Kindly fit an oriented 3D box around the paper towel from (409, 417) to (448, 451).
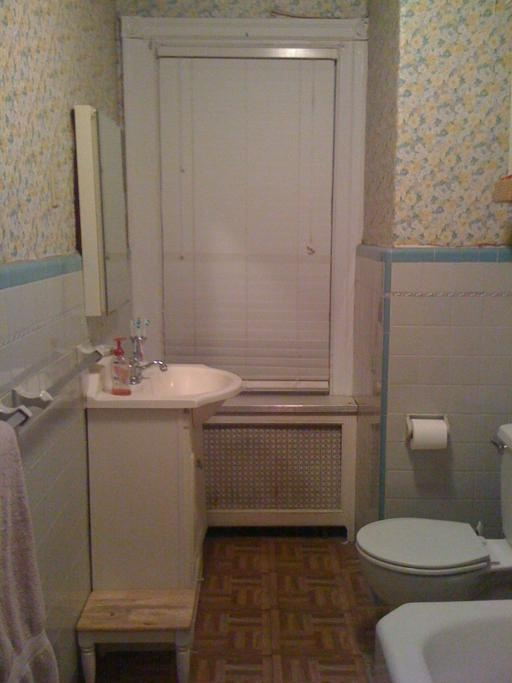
[{"bbox_3d":[0.608,0.326,2.076,0.139,0.128,0.108,1,-2,-3],"label":"paper towel"}]
